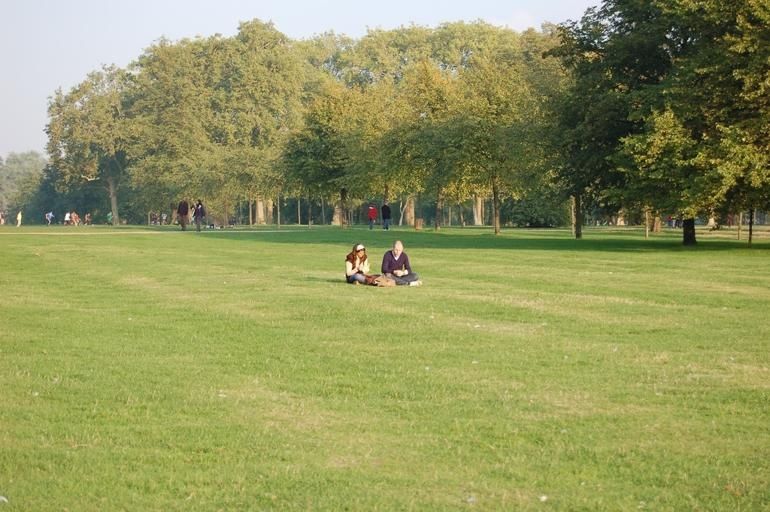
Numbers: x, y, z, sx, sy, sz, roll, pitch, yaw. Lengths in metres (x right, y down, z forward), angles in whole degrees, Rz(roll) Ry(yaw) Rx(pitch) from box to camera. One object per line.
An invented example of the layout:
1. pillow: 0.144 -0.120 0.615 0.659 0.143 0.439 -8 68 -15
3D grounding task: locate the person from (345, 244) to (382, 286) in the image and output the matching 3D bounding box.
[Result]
1. person: -0.772 0.256 27.073 0.967 1.167 0.961 7 12 35

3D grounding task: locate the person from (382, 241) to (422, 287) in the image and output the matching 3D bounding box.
1. person: 0.398 0.229 26.847 1.037 1.298 1.345 -2 8 -35
